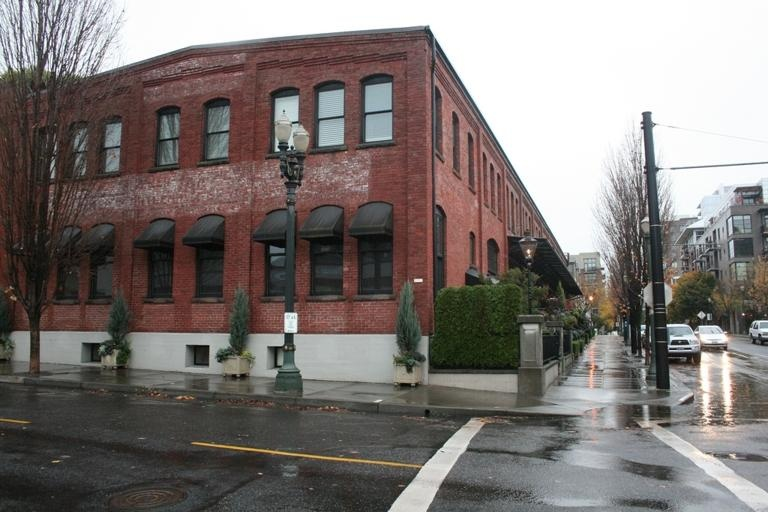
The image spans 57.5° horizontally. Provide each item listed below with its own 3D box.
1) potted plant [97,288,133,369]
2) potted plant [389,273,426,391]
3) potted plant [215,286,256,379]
[{"bbox_3d":[-10.224,2.835,26.707,1.075,2.940,0.593,1,-7,-21],"label":"potted plant"},{"bbox_3d":[0.817,2.616,23.354,1.029,3.454,0.578,-2,-6,1],"label":"potted plant"},{"bbox_3d":[-5.285,2.757,25.100,1.249,3.164,0.716,1,-6,-18],"label":"potted plant"}]
